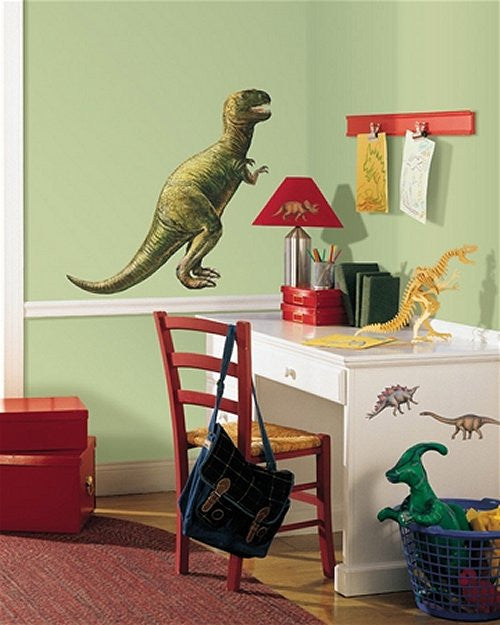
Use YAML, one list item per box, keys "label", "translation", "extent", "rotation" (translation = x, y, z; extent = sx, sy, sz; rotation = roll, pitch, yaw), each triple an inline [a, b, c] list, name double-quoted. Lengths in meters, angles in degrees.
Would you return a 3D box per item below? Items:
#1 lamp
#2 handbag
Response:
- label: "lamp"
  translation: [0.194, -0.324, 3.230]
  extent: [0.481, 0.583, 0.477]
  rotation: [1, 4, 2]
- label: "handbag"
  translation: [-0.037, 0.353, 1.980]
  extent: [0.299, 0.630, 0.230]
  rotation: [0, 3, -10]
